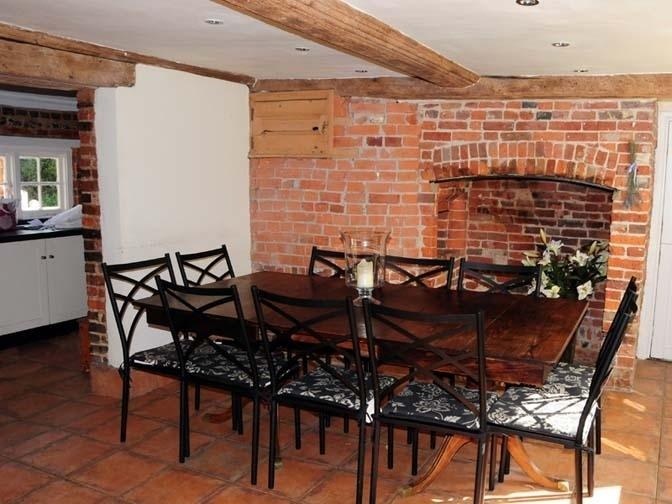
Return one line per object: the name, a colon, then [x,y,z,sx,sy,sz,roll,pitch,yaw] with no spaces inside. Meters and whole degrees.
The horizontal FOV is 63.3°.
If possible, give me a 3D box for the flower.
flower: [2.028,0.138,4.502,0.780,0.496,0.667,-7,2,-1]
